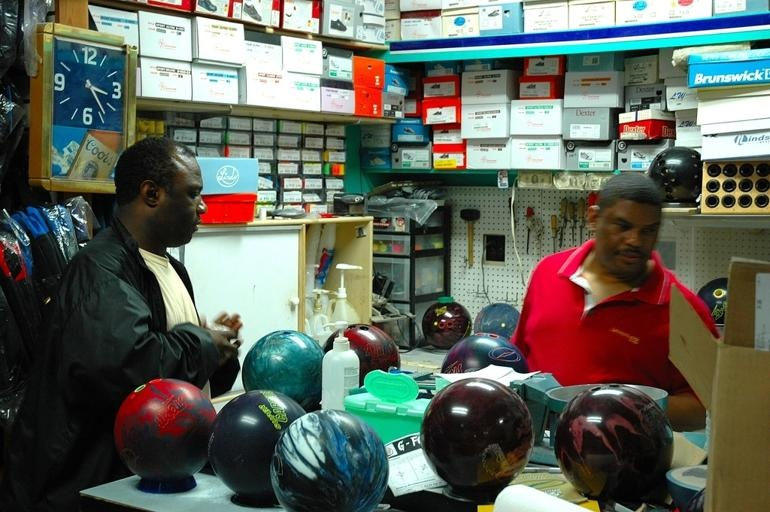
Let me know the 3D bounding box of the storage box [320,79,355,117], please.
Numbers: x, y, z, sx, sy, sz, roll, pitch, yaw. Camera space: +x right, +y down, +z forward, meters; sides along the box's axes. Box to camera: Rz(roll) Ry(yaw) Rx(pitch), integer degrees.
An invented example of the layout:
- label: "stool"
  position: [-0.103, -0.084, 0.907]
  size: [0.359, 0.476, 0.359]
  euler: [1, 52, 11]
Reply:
- label: "storage box"
  position: [-0.340, -1.108, 4.403]
  size: [0.087, 0.217, 0.269]
  euler: [-1, 0, 44]

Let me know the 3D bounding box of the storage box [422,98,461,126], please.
- label: "storage box"
  position: [0.421, -1.073, 4.723]
  size: [0.348, 0.184, 0.220]
  euler: [4, 6, 31]

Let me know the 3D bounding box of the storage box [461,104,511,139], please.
- label: "storage box"
  position: [0.730, -0.972, 4.541]
  size: [0.426, 0.277, 0.230]
  euler: [3, 6, 35]

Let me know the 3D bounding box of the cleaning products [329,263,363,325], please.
- label: "cleaning products"
  position: [-0.291, 0.300, 4.262]
  size: [0.214, 0.469, 0.262]
  euler: [1, -6, -24]

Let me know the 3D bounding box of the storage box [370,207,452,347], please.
- label: "storage box"
  position: [0.257, 0.138, 4.914]
  size: [0.689, 1.100, 0.318]
  euler: [0, 3, -34]

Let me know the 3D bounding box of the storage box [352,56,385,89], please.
- label: "storage box"
  position: [-0.127, -1.327, 4.581]
  size: [0.160, 0.195, 0.281]
  euler: [2, 3, 41]

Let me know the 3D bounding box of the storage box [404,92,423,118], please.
- label: "storage box"
  position: [0.210, -1.170, 4.937]
  size: [0.175, 0.162, 0.171]
  euler: [0, -1, -1]

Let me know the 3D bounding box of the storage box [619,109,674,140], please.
- label: "storage box"
  position: [1.670, -0.830, 4.009]
  size: [0.328, 0.183, 0.161]
  euler: [3, 3, 24]

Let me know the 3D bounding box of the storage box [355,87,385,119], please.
- label: "storage box"
  position: [-0.120, -1.122, 4.615]
  size: [0.078, 0.204, 0.242]
  euler: [1, 1, 42]

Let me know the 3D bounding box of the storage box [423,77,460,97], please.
- label: "storage box"
  position: [0.420, -1.265, 4.715]
  size: [0.243, 0.174, 0.118]
  euler: [0, 0, 30]

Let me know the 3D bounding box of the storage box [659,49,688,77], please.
- label: "storage box"
  position: [1.807, -1.198, 3.981]
  size: [0.179, 0.171, 0.175]
  euler: [-1, -1, 16]

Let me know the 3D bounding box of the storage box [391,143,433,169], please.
- label: "storage box"
  position: [0.208, -0.770, 4.937]
  size: [0.331, 0.205, 0.200]
  euler: [3, 8, 28]

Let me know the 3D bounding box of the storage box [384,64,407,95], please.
- label: "storage box"
  position: [0.091, -1.335, 4.808]
  size: [0.060, 0.219, 0.284]
  euler: [4, 3, 43]

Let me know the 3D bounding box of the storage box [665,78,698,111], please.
- label: "storage box"
  position: [1.835, -1.003, 3.905]
  size: [0.207, 0.224, 0.120]
  euler: [3, 3, 35]

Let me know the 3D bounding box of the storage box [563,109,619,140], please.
- label: "storage box"
  position: [1.370, -0.879, 4.218]
  size: [0.345, 0.228, 0.104]
  euler: [2, 2, 14]

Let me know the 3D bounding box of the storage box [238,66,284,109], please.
- label: "storage box"
  position: [-0.796, -1.064, 3.980]
  size: [0.288, 0.246, 0.093]
  euler: [1, -3, -45]

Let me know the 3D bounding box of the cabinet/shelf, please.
- label: "cabinet/shelf"
  position: [-0.581, 0.198, 2.982]
  size: [0.348, 0.641, 1.069]
  euler: [-1, 0, 34]

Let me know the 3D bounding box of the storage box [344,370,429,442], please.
- label: "storage box"
  position: [0.026, 0.380, 1.764]
  size: [0.201, 0.193, 0.198]
  euler: [3, 5, 35]

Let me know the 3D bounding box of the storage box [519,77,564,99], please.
- label: "storage box"
  position: [1.076, -1.167, 4.354]
  size: [0.208, 0.124, 0.207]
  euler: [1, 4, 18]

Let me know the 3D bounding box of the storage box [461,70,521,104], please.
- label: "storage box"
  position: [0.782, -1.210, 4.513]
  size: [0.284, 0.169, 0.280]
  euler: [0, 3, 3]

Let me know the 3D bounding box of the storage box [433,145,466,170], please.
- label: "storage box"
  position: [0.485, -0.751, 4.745]
  size: [0.311, 0.215, 0.177]
  euler: [3, 9, 25]

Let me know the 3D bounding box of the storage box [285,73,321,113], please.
- label: "storage box"
  position: [-0.561, -1.090, 4.204]
  size: [0.138, 0.245, 0.285]
  euler: [-1, 0, 39]
